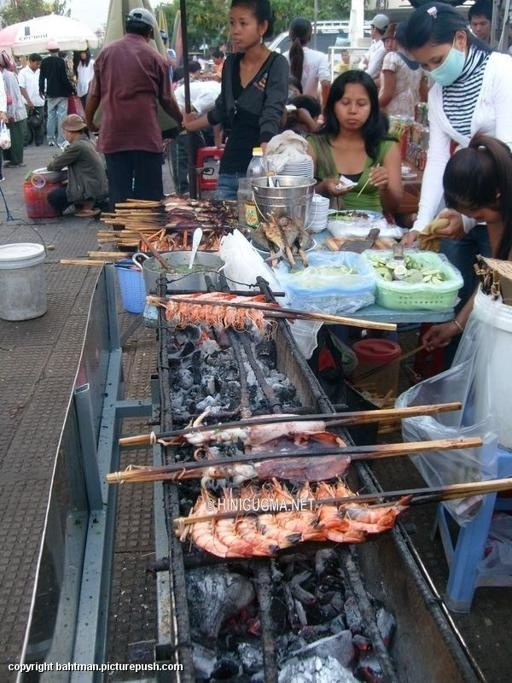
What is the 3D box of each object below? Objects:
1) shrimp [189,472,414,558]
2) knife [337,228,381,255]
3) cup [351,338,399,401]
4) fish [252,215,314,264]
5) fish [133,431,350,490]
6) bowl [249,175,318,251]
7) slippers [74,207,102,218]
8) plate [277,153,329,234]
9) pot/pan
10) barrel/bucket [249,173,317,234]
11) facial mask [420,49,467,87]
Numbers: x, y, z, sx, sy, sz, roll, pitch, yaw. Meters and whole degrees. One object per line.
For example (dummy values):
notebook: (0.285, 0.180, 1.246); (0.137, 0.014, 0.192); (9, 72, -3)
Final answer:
shrimp: (0.065, 0.375, 1.215); (0.458, 0.119, 0.275); (-8, 28, -13)
knife: (0.578, -0.567, 2.997); (0.174, 0.052, 0.363); (9, 28, 18)
cup: (0.760, 0.181, 3.383); (0.335, 0.361, 0.353); (0, 28, 0)
fish: (0.134, -0.520, 2.736); (0.231, 0.179, 0.347); (0, 32, -1)
fish: (0.024, 0.342, 1.389); (0.648, 0.084, 0.186); (-4, 43, -8)
bowl: (0.144, -0.733, 2.888); (0.384, 0.446, 0.404); (2, 24, -1)
slippers: (-2.455, -1.879, 7.796); (0.156, 0.125, 0.364); (9, 13, 42)
plate: (0.309, -0.911, 3.274); (0.296, 0.470, 0.303); (-8, 25, -16)
pot/pan: (-0.378, -0.325, 2.614); (0.425, 0.139, 0.305); (5, 29, 12)
barrel/bucket: (0.131, -0.801, 2.997); (0.345, 0.259, 0.352); (-2, 23, 1)
facial mask: (1.068, -1.564, 3.041); (0.172, 0.196, 0.239); (-5, 28, -7)
